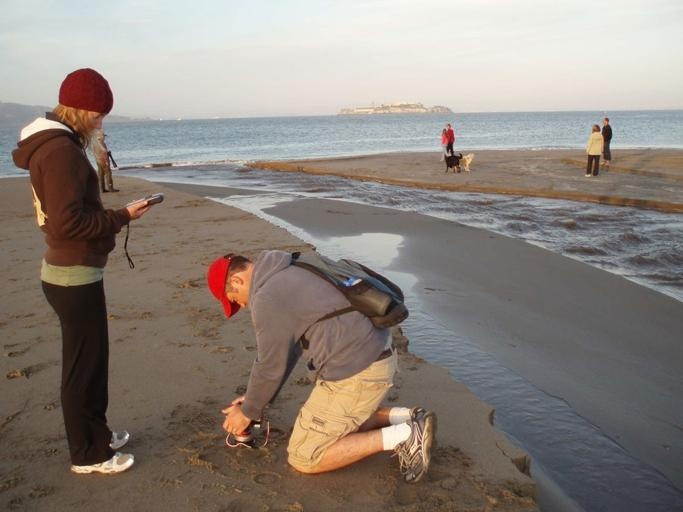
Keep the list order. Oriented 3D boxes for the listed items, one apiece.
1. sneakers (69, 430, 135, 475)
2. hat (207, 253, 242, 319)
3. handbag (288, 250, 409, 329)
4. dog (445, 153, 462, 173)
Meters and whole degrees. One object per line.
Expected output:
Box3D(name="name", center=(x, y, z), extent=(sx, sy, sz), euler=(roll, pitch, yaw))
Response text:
Box3D(name="sneakers", center=(-1.539, 1.245, 3.312), extent=(0.506, 0.264, 0.169), euler=(0, 18, -7))
Box3D(name="hat", center=(-0.769, 0.188, 3.300), extent=(0.270, 0.371, 0.300), euler=(-6, 4, -4))
Box3D(name="handbag", center=(0.113, 0.189, 3.211), extent=(0.767, 0.252, 0.436), euler=(24, 17, 18))
Box3D(name="dog", center=(3.846, -3.177, 17.562), extent=(0.523, 0.593, 0.971), euler=(1, 17, 11))
